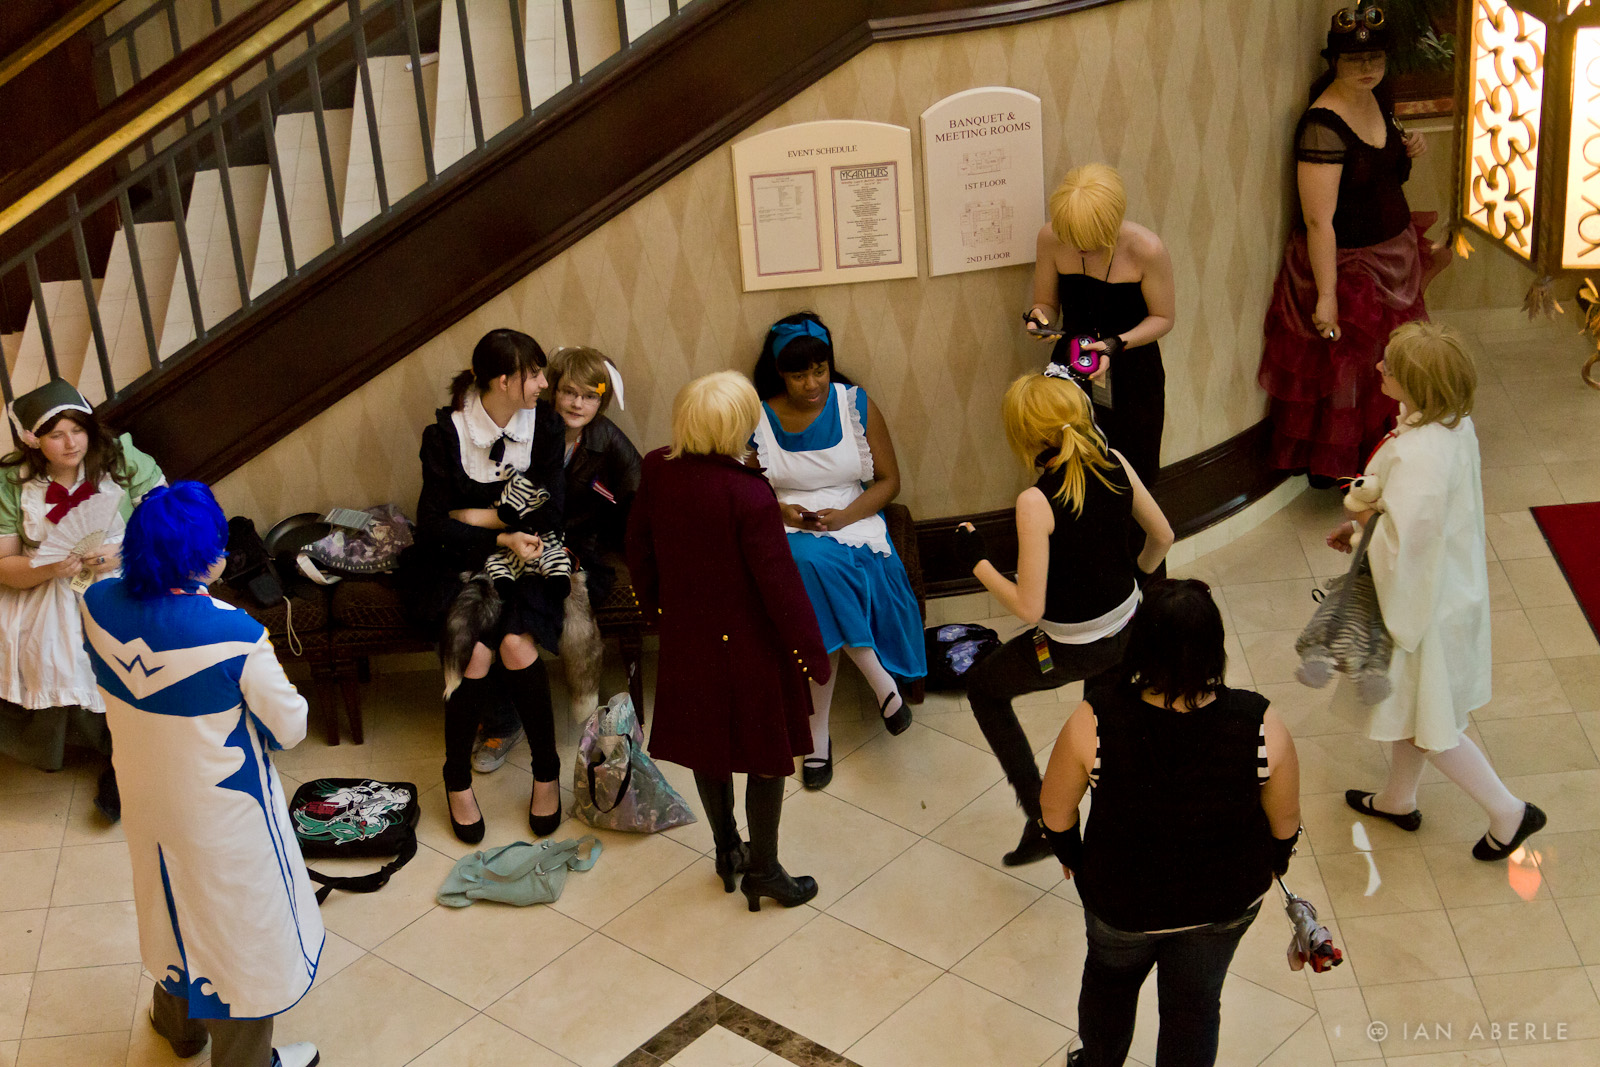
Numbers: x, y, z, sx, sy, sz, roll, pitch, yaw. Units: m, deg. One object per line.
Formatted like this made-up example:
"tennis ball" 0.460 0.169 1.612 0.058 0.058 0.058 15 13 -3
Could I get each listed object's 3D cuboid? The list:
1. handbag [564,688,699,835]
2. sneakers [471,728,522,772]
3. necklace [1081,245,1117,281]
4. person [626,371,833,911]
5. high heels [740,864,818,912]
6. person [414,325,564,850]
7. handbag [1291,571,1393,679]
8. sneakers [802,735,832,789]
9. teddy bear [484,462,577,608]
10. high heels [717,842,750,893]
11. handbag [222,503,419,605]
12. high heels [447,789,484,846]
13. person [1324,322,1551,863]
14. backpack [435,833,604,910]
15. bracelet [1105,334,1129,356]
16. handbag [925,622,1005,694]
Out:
"handbag" -0.646 0.997 5.244 0.522 0.661 0.515 -3 18 -3
"sneakers" -1.339 0.967 5.660 0.080 0.089 0.226 10 28 20
"necklace" 1.280 -1.156 5.526 0.145 0.191 0.104 -1 36 9
"person" -0.243 0.453 4.559 0.681 2.037 0.382 -5 16 3
"high heels" -0.089 1.321 4.862 0.275 0.148 0.140 -12 30 -13
"person" -1.227 0.214 5.267 0.648 1.968 0.682 -9 16 -9
"handbag" 1.950 0.360 4.603 0.278 0.169 0.451 0 47 22
"sneakers" 0.067 0.997 5.429 0.090 0.078 0.261 -2 55 17
"teddy bear" -1.096 0.007 5.455 0.480 0.588 0.407 -3 16 -4
"high heels" -0.255 1.259 4.915 0.079 0.109 0.249 -1 29 4
"handbag" -2.118 0.083 5.653 0.622 0.191 0.480 -3 45 -6
"high heels" -1.350 1.168 5.246 0.091 0.293 0.120 -15 -10 -12
"person" 2.315 0.248 4.692 0.603 2.009 0.429 -7 16 -3
"backpack" -1.092 1.328 5.019 0.415 0.064 0.268 -8 28 -19
"bracelet" 1.371 -0.817 5.593 0.091 0.074 0.118 3 3 44
"handbag" 0.736 0.567 5.827 0.323 0.103 0.252 -14 45 15
